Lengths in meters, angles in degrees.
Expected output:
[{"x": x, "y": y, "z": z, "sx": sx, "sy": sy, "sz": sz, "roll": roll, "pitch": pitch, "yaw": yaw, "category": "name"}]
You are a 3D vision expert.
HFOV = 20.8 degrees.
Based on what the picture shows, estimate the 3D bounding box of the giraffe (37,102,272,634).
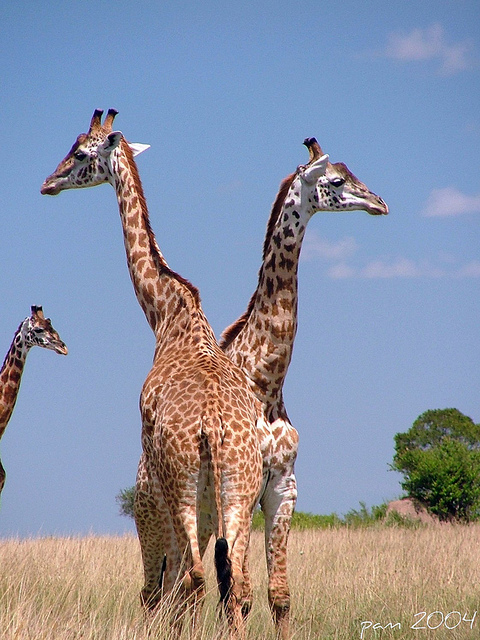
[{"x": -0.812, "y": 0.244, "z": 11.601, "sx": 1.130, "sy": 5.079, "sz": 2.945, "roll": 4, "pitch": -13, "yaw": -27, "category": "giraffe"}]
